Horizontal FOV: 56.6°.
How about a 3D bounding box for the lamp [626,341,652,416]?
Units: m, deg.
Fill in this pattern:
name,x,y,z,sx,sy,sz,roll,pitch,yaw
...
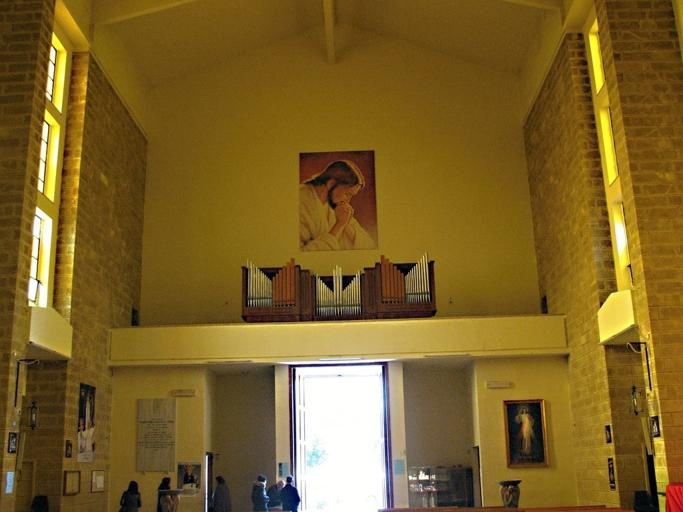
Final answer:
name,x,y,z,sx,sy,sz,roll,pitch,yaw
lamp,5.731,2.319,12.214,0.474,0.269,1.777,-9,-62,15
